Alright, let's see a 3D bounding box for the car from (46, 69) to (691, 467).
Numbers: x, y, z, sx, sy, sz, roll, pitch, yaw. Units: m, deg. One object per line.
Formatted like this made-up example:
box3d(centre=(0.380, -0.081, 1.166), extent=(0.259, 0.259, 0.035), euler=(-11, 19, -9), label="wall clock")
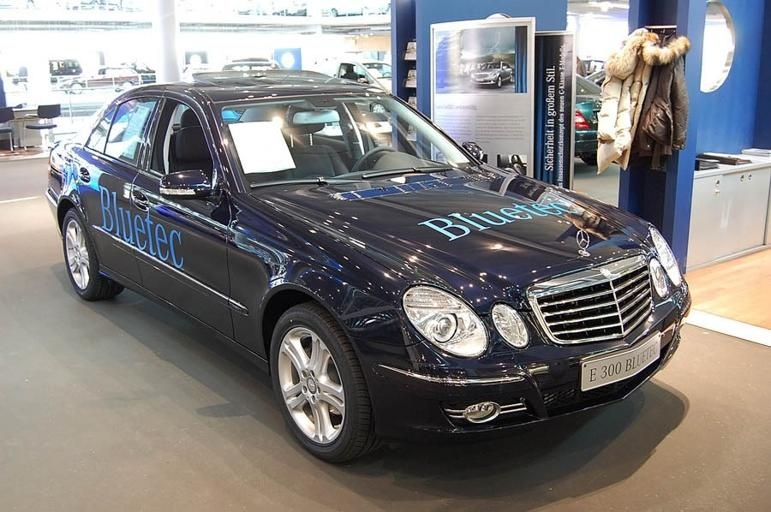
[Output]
box3d(centre=(-0.655, -0.229, 3.195), extent=(4.324, 1.209, 2.034), euler=(18, 25, 39), label="car")
